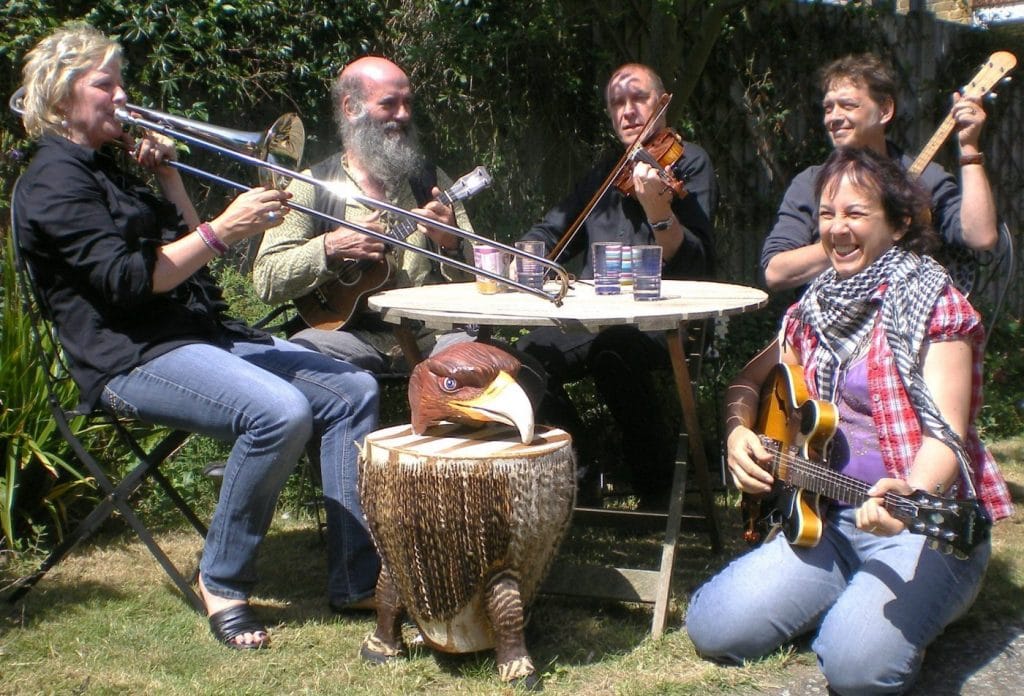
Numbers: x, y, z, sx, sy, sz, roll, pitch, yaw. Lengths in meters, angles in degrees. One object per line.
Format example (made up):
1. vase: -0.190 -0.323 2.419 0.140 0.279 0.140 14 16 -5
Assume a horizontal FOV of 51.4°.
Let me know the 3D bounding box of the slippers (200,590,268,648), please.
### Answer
1. slippers: -1.178 1.147 4.485 0.311 0.175 0.152 2 15 8

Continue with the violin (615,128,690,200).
1. violin: 0.703 -0.890 5.235 0.356 0.327 0.623 0 15 2

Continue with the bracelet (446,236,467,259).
1. bracelet: -0.282 -0.495 5.323 0.084 0.072 0.092 2 3 3

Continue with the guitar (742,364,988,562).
1. guitar: 1.293 0.548 4.130 0.293 0.788 1.093 -9 17 -30

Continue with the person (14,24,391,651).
1. person: -1.378 -0.076 4.612 1.466 2.500 0.786 5 15 20

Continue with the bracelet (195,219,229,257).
1. bracelet: -1.258 -0.452 4.438 0.048 0.126 0.104 -41 0 -11

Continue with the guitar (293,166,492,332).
1. guitar: -0.599 -0.570 5.508 1.329 0.545 0.152 -38 30 -5

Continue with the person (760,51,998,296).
1. person: 1.868 -0.663 5.438 0.604 1.794 1.033 -17 33 -17

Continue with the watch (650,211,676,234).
1. watch: 0.731 -0.591 5.149 0.104 0.067 0.108 -9 -1 40

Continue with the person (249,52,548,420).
1. person: -0.781 -0.579 5.218 0.929 2.176 0.281 5 -14 4

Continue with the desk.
1. desk: 0.305 0.250 4.731 1.435 1.286 1.609 0 3 25

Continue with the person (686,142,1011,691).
1. person: 1.485 0.369 4.457 1.005 2.404 1.169 -4 5 -37
